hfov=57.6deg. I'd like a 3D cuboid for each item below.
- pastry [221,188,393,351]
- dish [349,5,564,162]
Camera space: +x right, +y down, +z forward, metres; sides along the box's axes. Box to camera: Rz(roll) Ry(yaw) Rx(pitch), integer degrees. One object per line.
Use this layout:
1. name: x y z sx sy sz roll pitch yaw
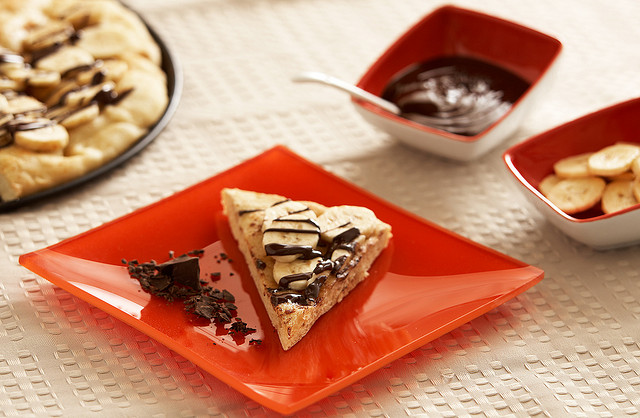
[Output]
1. pastry: 0.051 0.090 1.591 0.569 0.330 0.569 -4 19 -8
2. dish: 0.425 -0.444 1.837 0.567 0.253 0.611 27 61 33
